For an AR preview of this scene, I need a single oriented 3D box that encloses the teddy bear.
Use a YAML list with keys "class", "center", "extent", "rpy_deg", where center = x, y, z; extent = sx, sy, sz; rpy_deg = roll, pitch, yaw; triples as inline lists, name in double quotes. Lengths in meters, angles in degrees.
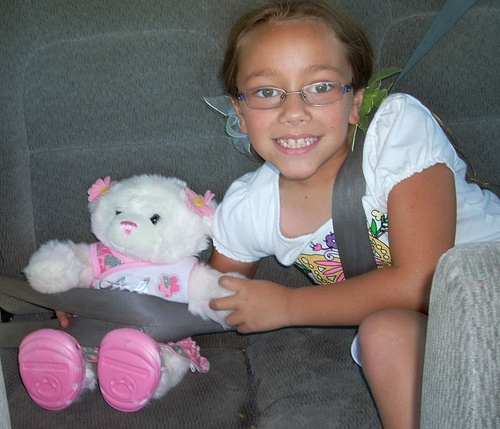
- class: "teddy bear"
  center: [-0.269, 0.164, 1.133]
  extent: [0.521, 0.329, 0.528]
  rpy_deg: [5, 85, 6]
